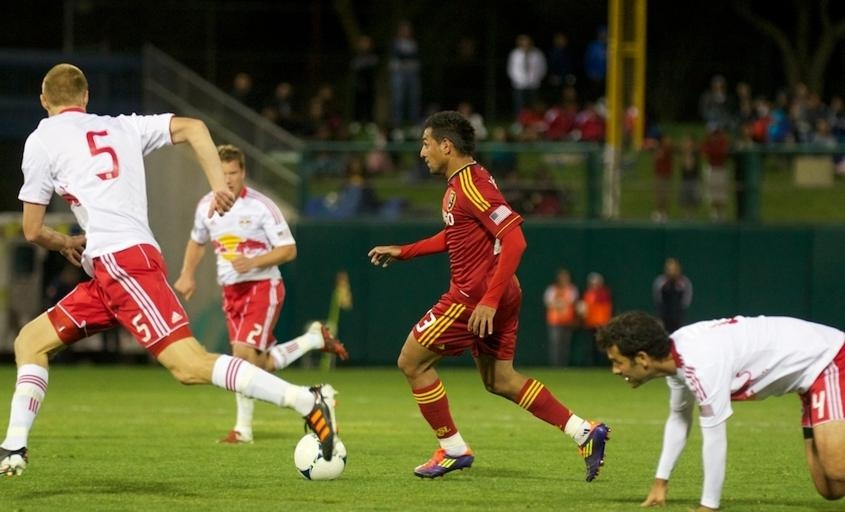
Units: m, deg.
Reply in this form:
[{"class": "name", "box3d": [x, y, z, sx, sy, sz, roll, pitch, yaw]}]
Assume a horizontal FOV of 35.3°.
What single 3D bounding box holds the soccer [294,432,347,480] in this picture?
[{"class": "soccer", "box3d": [-1.526, 2.821, 19.186, 0.677, 0.698, 0.693, -18, 11, -19]}]
